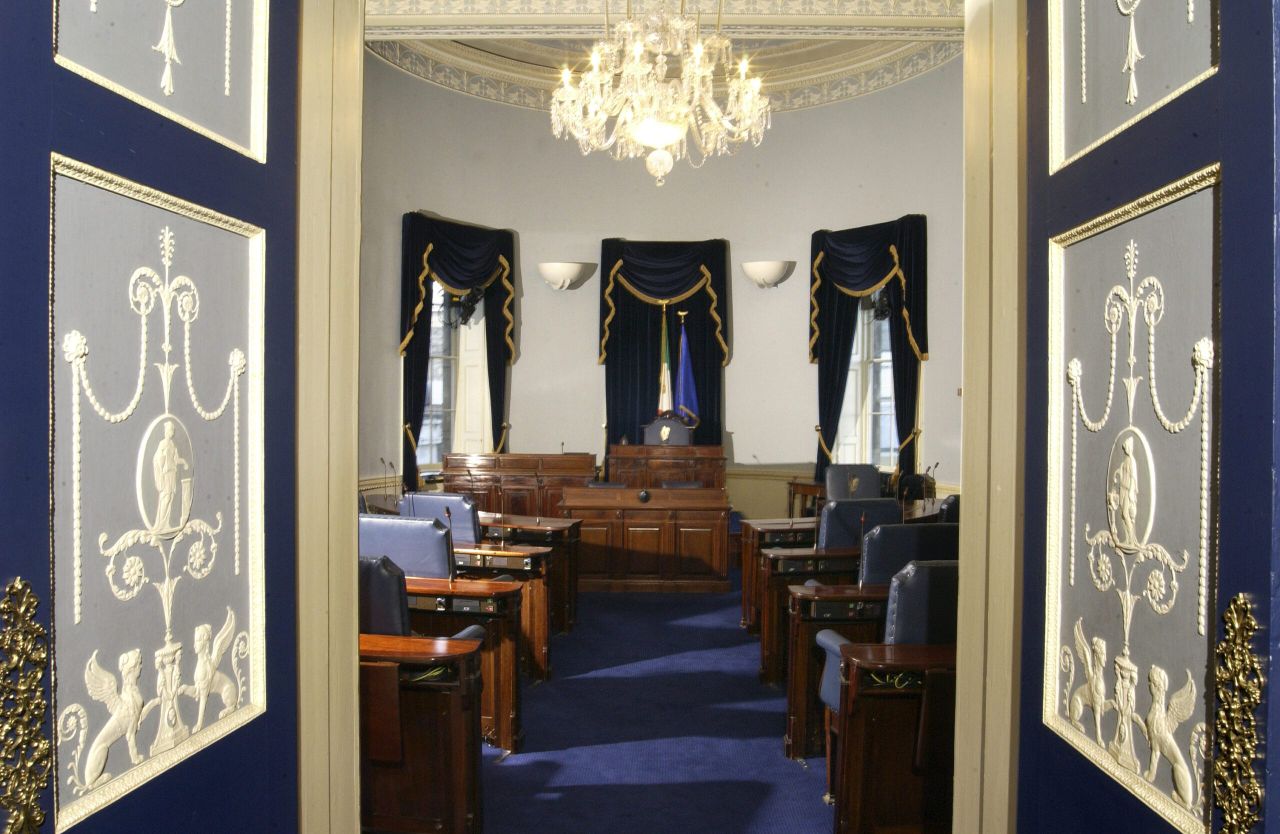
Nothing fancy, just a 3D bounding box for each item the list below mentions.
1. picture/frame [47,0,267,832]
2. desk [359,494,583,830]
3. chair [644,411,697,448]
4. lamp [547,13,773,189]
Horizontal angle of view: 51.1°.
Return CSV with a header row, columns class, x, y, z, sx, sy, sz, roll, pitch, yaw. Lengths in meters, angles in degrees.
class,x,y,z,sx,sy,sz,roll,pitch,yaw
picture/frame,-1.352,-0.029,3.839,0.147,2.379,0.853,1,7,29
desk,-0.811,1.081,6.500,0.983,0.950,0.989,2,4,13
chair,0.240,0.177,10.735,0.386,0.350,0.238,0,-5,3
lamp,0.147,-2.036,8.593,1.106,1.627,1.233,1,-3,1
